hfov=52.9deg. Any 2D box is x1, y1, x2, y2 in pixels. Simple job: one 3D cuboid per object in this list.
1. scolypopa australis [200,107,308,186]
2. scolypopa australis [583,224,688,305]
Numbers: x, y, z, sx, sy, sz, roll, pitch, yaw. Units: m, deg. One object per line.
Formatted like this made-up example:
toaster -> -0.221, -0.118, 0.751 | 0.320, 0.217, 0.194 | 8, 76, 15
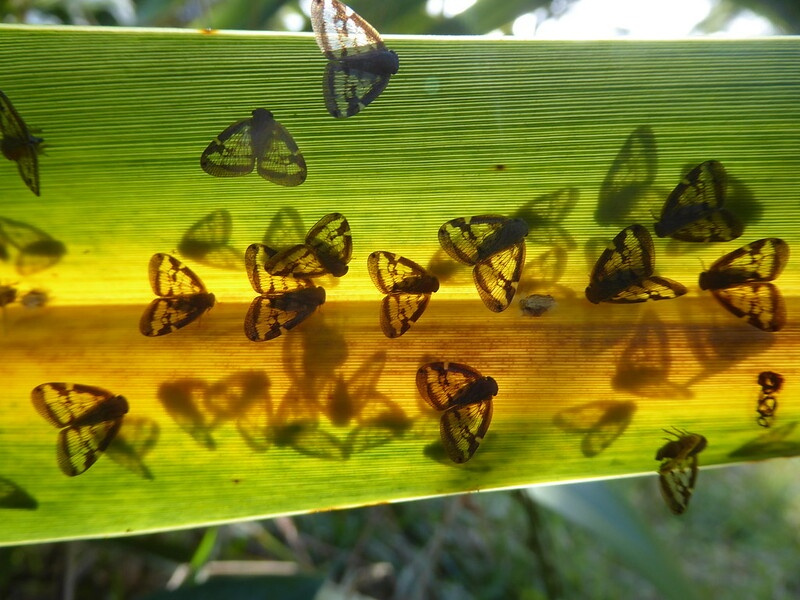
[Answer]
scolypopa australis -> -0.300, -0.296, 1.509 | 0.287, 0.124, 0.019 | 9, 19, 4
scolypopa australis -> 0.491, -0.066, 1.612 | 0.206, 0.170, 0.042 | 3, 23, -9
